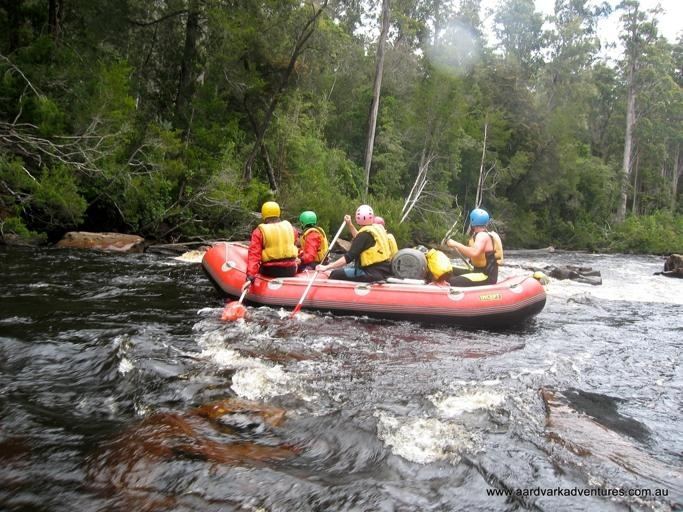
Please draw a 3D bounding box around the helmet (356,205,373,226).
[{"bbox_3d":[0.389,-0.700,8.929,0.267,0.345,0.348,6,3,4],"label":"helmet"}]

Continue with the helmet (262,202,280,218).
[{"bbox_3d":[-1.258,-0.810,9.163,0.308,0.369,0.377,-1,11,-15],"label":"helmet"}]

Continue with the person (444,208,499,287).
[{"bbox_3d":[2.148,-0.111,9.117,1.123,1.376,1.071,0,1,36],"label":"person"}]

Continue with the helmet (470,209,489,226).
[{"bbox_3d":[2.324,-0.656,8.965,0.264,0.286,0.352,-3,19,-26],"label":"helmet"}]
